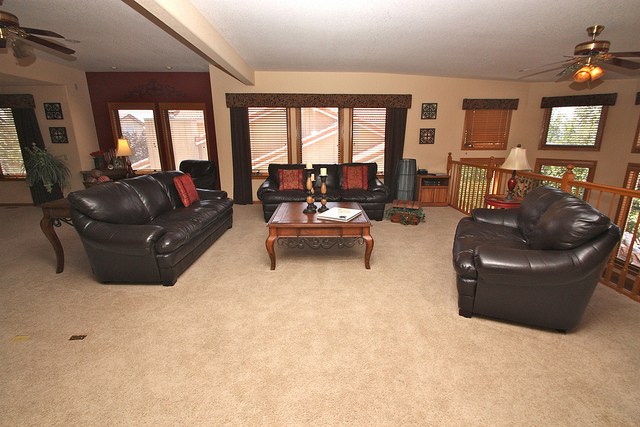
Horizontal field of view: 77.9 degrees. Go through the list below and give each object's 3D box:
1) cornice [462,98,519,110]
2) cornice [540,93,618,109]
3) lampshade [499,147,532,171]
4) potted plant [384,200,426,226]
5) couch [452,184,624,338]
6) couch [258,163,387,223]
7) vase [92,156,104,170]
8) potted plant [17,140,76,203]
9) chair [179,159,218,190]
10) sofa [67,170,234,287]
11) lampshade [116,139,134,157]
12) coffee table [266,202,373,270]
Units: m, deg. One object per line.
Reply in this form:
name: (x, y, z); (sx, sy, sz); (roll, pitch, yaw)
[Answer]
cornice: (3.710, -2.378, 8.603); (1.244, 0.220, 0.133); (-3, 16, -11)
cornice: (5.526, -2.419, 8.465); (1.417, 0.274, 0.187); (5, 17, 21)
lampshade: (3.094, -0.866, 6.294); (0.421, 0.333, 0.390); (1, 8, 7)
potted plant: (1.613, -0.022, 7.370); (0.487, 0.381, 0.544); (-9, 16, -30)
couch: (2.786, 0.406, 5.611); (1.712, 1.420, 2.759); (2, 15, 19)
couch: (0.078, -0.458, 7.813); (2.464, 0.925, 0.932); (-1, 24, -3)
vase: (-4.666, -1.082, 8.364); (0.192, 0.275, 0.210); (-9, 17, -27)
potted plant: (-5.710, -0.894, 8.266); (0.923, 1.272, 0.748); (9, 18, 30)
chair: (-2.523, -0.885, 8.442); (0.917, 0.763, 0.600); (0, 10, 6)
sofa: (-2.426, 0.196, 5.753); (1.356, 1.314, 1.520); (6, 16, 21)
lampshade: (-3.988, -1.343, 8.130); (0.380, 0.328, 0.319); (-11, 31, -30)
coffee table: (-0.023, 0.282, 6.031); (1.474, 0.812, 1.080); (0, 14, -1)
